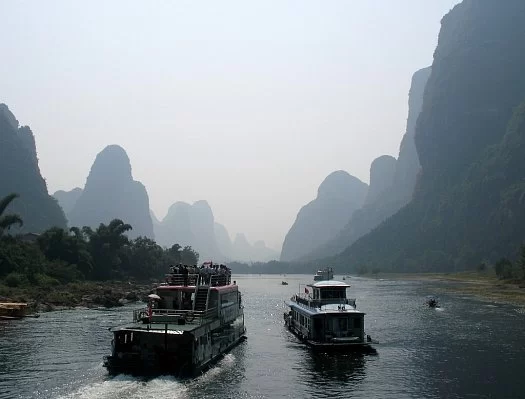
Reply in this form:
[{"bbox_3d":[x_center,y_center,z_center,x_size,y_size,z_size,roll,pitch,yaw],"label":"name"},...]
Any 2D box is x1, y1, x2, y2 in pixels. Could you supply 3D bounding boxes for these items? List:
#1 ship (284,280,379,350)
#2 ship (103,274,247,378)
[{"bbox_3d":[11.189,18.460,73.153,12.754,9.618,27.798,-1,-13,-10],"label":"ship"},{"bbox_3d":[-9.773,15.215,55.273,9.289,11.718,17.943,-9,-13,26],"label":"ship"}]
